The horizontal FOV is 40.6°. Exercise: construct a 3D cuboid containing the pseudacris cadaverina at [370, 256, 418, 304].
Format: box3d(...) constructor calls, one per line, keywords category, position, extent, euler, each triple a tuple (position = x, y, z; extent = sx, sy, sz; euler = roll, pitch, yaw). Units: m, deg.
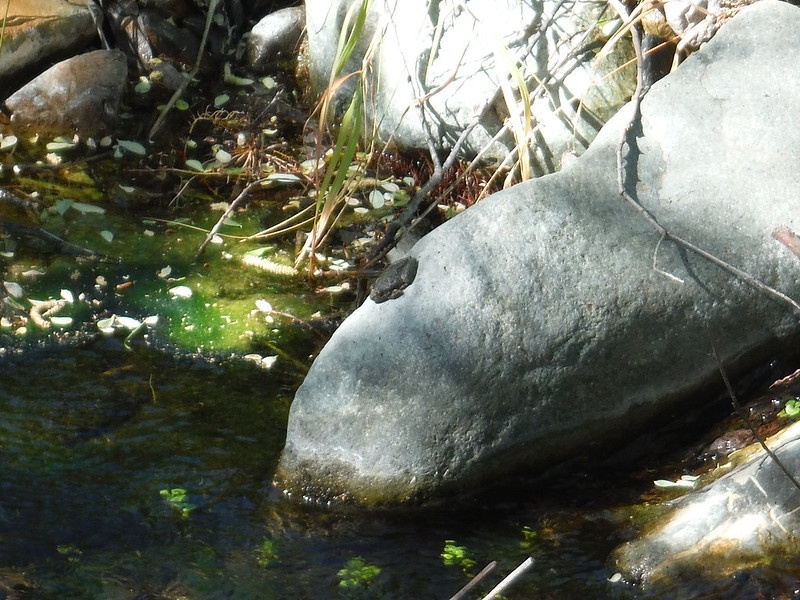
box3d(category="pseudacris cadaverina", position=(-0.043, -0.102, 5.097), extent=(0.299, 0.191, 0.086), euler=(-6, -28, 29))
